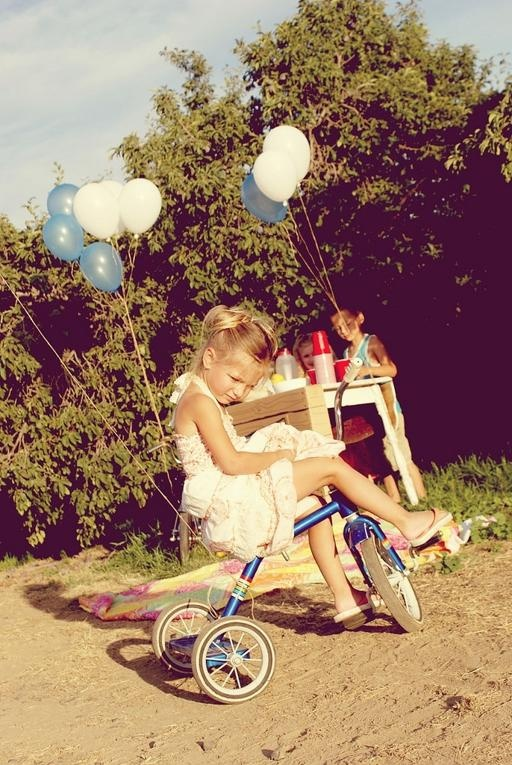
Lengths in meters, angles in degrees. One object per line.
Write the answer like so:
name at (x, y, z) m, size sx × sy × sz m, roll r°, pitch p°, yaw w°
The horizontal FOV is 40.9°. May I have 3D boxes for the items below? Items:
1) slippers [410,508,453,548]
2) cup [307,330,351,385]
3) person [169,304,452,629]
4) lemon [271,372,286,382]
slippers at (0.677, 0.557, 2.617) m, size 0.198 × 0.069 × 0.102 m, roll -33°, pitch 18°, yaw -14°
cup at (0.423, -0.143, 3.979) m, size 0.209 × 0.321 × 0.194 m, roll -1°, pitch 2°, yaw 0°
person at (0.211, 0.325, 2.690) m, size 1.083 × 1.165 × 0.526 m, roll -1°, pitch -5°, yaw -16°
lemon at (0.135, -0.029, 4.058) m, size 0.052 × 0.051 × 0.058 m, roll 28°, pitch 3°, yaw -16°
